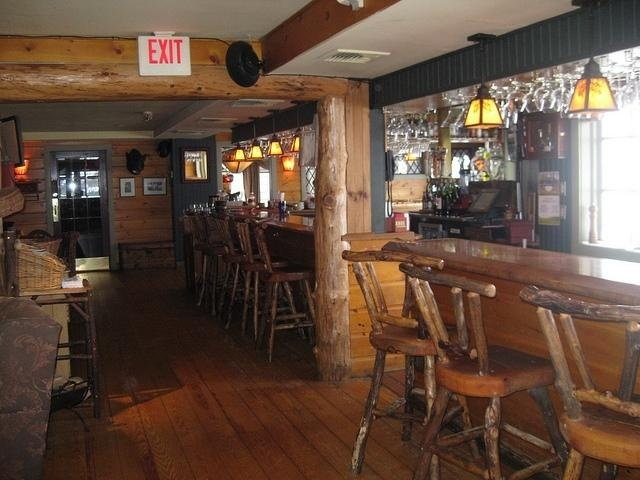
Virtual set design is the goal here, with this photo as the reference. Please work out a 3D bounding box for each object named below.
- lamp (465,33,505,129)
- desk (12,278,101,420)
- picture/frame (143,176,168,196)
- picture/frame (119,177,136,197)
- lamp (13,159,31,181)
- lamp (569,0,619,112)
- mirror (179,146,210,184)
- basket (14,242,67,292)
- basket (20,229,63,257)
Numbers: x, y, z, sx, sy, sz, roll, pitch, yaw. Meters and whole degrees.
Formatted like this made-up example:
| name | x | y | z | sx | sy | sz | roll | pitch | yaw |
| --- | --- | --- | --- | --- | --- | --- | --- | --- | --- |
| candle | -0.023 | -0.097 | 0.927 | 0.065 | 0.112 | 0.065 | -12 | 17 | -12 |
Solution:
| name | x | y | z | sx | sy | sz | roll | pitch | yaw |
| --- | --- | --- | --- | --- | --- | --- | --- | --- | --- |
| lamp | 1.129 | -1.107 | 3.183 | 0.246 | 0.656 | 0.453 | 1 | 8 | 21 |
| desk | -2.090 | 0.834 | 3.859 | 0.419 | 1.112 | 1.546 | -6 | 8 | -27 |
| picture/frame | -3.836 | -1.270 | 10.714 | 0.497 | 0.399 | 0.039 | 0 | 9 | -18 |
| picture/frame | -4.391 | -1.238 | 10.539 | 0.457 | 0.532 | 0.039 | -2 | 6 | -8 |
| lamp | -6.297 | -1.488 | 9.827 | 0.281 | 0.478 | 0.308 | -7 | 9 | -31 |
| lamp | 1.585 | -1.058 | 2.672 | 0.250 | 0.617 | 0.212 | -1 | 8 | 8 |
| mirror | -2.846 | -1.733 | 10.424 | 0.850 | 1.088 | 0.088 | -3 | 6 | -23 |
| basket | -2.053 | 0.203 | 3.488 | 0.389 | 0.290 | 0.301 | -1 | 3 | -28 |
| basket | -2.696 | 0.025 | 4.489 | 0.454 | 0.156 | 0.336 | 15 | 10 | 26 |
